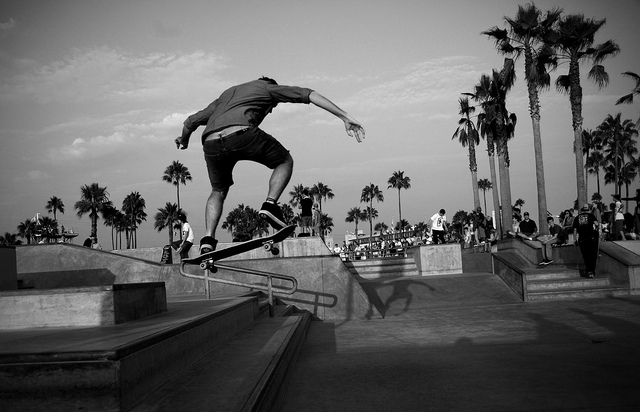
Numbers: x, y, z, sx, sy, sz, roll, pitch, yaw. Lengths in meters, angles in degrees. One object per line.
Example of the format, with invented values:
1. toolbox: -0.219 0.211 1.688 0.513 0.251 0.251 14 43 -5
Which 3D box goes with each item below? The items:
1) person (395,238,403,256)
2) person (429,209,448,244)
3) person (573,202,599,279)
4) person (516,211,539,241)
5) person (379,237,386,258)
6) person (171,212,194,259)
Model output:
1. person: 4.756 2.519 29.324 0.325 0.363 1.088 -28 -3 18
2. person: 5.133 0.938 20.929 0.750 1.819 0.469 -2 25 3
3. person: 7.481 0.971 13.474 0.609 1.881 1.107 -5 -3 28
4. person: 8.756 0.805 20.368 0.970 1.278 0.811 8 -12 -10
5. person: 4.000 2.653 31.013 0.477 0.356 1.461 -17 23 18
6. person: -4.256 1.021 14.500 0.783 1.740 0.564 -5 17 -23
